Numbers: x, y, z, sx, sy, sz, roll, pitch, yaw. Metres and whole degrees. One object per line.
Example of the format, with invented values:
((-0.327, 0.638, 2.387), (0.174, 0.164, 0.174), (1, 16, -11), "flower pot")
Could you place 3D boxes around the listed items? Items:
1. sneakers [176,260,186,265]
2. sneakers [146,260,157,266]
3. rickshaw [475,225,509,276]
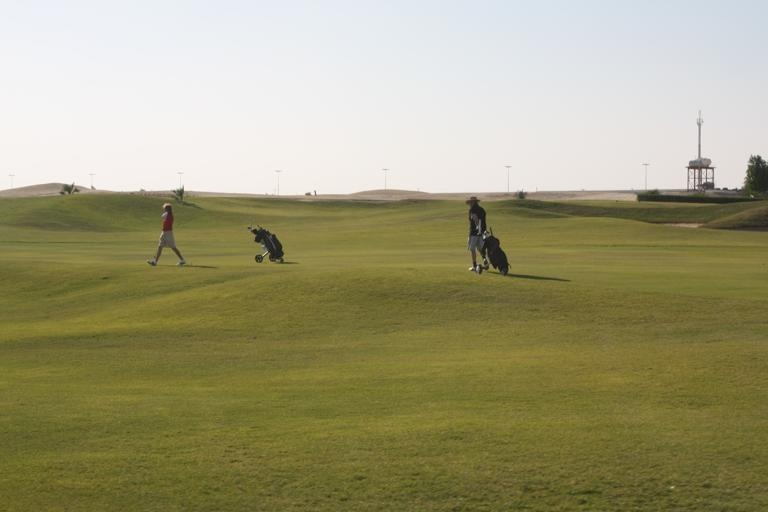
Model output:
((-7.451, 0.263, 32.398), (0.384, 0.218, 0.196), (6, 4, 23), "sneakers")
((-8.638, 0.288, 32.814), (0.105, 0.199, 0.299), (9, 25, -50), "sneakers")
((3.601, 0.062, 28.984), (1.257, 0.734, 1.762), (-7, 38, 8), "rickshaw")
